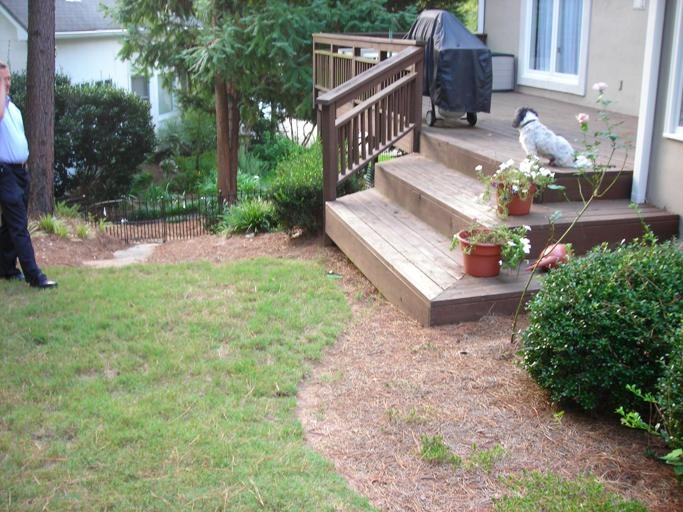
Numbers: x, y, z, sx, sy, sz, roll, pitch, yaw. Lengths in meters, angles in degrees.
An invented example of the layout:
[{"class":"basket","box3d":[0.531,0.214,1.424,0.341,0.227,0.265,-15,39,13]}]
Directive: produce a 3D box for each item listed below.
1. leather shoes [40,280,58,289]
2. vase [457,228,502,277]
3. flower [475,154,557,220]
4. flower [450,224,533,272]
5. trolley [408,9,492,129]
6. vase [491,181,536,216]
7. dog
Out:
[{"class":"leather shoes","box3d":[-3.121,0.315,6.717,0.134,0.075,0.082,-2,7,10]},{"class":"vase","box3d":[1.346,-0.058,6.183,0.380,0.356,0.446,-2,15,-2]},{"class":"flower","box3d":[2.008,-0.724,6.698,0.684,0.647,0.708,3,13,-16]},{"class":"flower","box3d":[1.447,-0.081,6.117,0.516,0.416,0.538,14,20,33]},{"class":"trolley","box3d":[1.593,-3.154,9.898,0.838,1.322,1.902,-4,28,-7]},{"class":"vase","box3d":[1.784,-0.555,6.514,0.323,0.288,0.342,-10,14,-32]},{"class":"dog","box3d":[2.403,-1.314,7.133,0.977,0.782,0.363,10,1,24]}]
